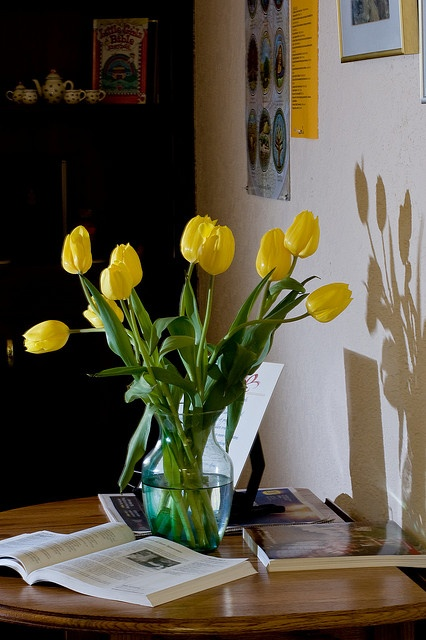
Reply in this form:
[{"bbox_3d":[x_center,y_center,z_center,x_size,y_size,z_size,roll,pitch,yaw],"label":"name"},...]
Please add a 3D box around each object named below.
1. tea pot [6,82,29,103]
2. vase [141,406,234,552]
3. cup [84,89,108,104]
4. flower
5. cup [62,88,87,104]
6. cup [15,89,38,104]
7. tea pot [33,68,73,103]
[{"bbox_3d":[-0.753,-0.863,2.196,0.089,0.097,0.062,6,15,20],"label":"tea pot"},{"bbox_3d":[-0.002,0.207,0.715,0.088,0.145,0.089,5,-12,-42],"label":"vase"},{"bbox_3d":[-0.450,-0.854,2.205,0.072,0.053,0.048,-15,24,-37],"label":"cup"},{"bbox_3d":[-0.015,0.050,0.874,0.372,0.519,0.438,1,3,5],"label":"flower"},{"bbox_3d":[-0.529,-0.853,2.193,0.074,0.056,0.054,-2,22,-1],"label":"cup"},{"bbox_3d":[-0.713,-0.851,2.199,0.076,0.053,0.064,-7,12,-18],"label":"cup"},{"bbox_3d":[-0.589,-0.887,2.187,0.157,0.152,0.100,1,18,-7],"label":"tea pot"}]
